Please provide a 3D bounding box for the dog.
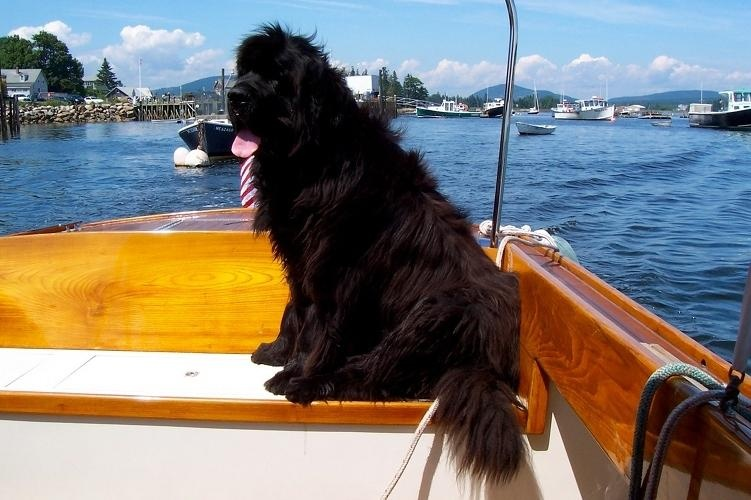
[{"bbox_3d":[0.049,-0.068,2.588,1.377,1.645,1.496,3,5,-6],"label":"dog"}]
